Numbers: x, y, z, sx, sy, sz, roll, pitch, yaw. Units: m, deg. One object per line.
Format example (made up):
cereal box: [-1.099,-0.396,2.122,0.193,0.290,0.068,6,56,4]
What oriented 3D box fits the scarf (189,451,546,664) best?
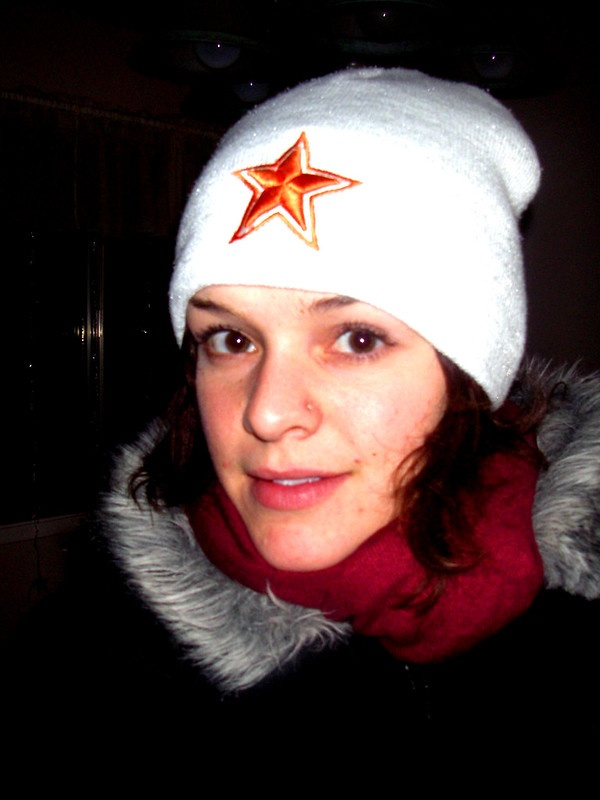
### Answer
scarf: [0.181,0.267,1.583,0.453,0.510,0.187,6,63,-34]
